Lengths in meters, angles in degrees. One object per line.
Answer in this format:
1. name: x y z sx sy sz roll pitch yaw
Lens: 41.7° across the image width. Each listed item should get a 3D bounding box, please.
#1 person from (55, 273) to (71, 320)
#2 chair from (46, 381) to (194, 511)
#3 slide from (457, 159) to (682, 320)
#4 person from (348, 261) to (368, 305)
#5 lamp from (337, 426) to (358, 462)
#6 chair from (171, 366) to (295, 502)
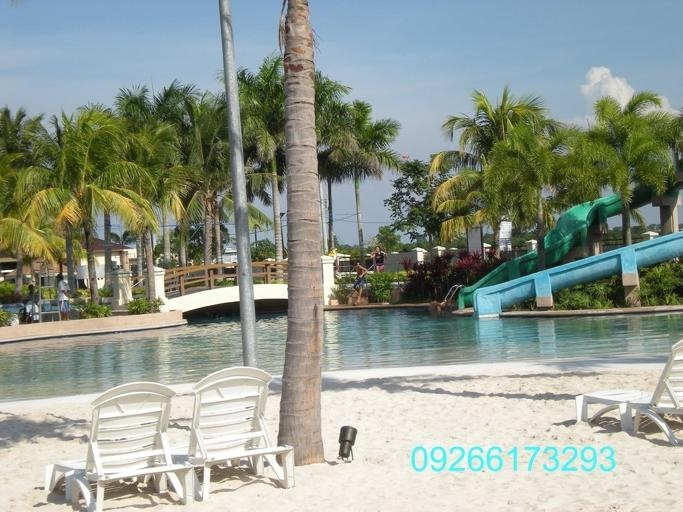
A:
1. person: -9.685 1.551 31.264 0.393 1.342 1.122 -6 6 -19
2. chair: -2.839 2.503 11.769 1.264 1.578 1.980 1 0 -34
3. slide: 7.436 -0.524 29.022 4.839 2.707 3.748 -22 4 10
4. person: 0.729 1.130 37.411 0.667 1.547 1.427 -4 6 1
5. lamp: 0.081 2.646 12.824 0.273 0.482 0.391 -4 6 -3
6. chair: -1.465 2.227 12.119 1.206 1.804 1.894 0 0 -26
